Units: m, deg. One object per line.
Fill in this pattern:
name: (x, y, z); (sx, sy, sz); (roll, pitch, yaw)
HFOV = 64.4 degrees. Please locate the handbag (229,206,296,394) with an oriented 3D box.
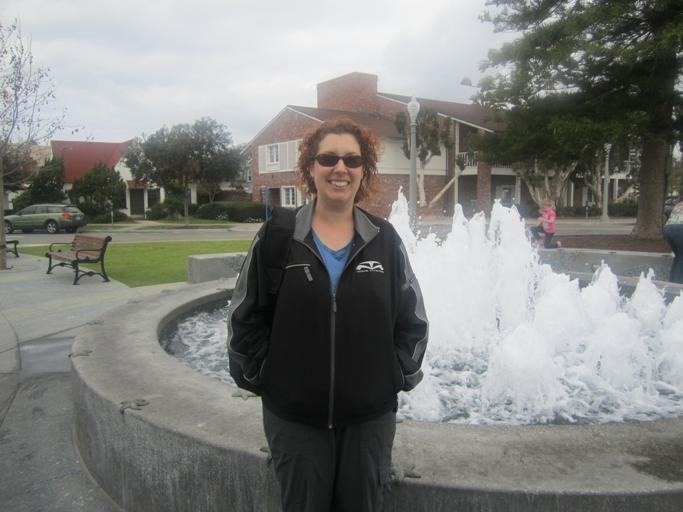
handbag: (-0.482, 0.211, 2.911); (0.551, 0.824, 0.292); (3, 5, -24)

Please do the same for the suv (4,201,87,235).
suv: (-15.094, -1.941, 27.478); (3.153, 1.417, 1.040); (0, 5, -10)

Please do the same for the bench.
bench: (-5.645, -0.139, 11.552); (1.217, 0.526, 0.528); (-6, 15, -12)
